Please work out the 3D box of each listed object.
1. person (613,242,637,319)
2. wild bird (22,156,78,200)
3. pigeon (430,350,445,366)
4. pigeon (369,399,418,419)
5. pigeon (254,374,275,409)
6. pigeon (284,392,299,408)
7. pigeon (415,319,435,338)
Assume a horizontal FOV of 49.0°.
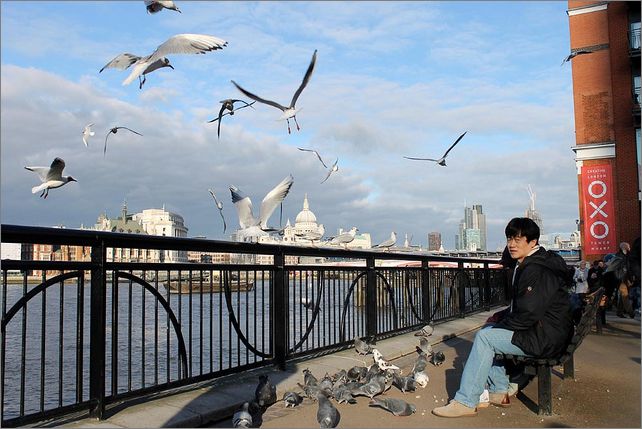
[{"bbox_3d":[8.786,1.931,20.123,0.810,2.551,0.733,-1,0,9],"label":"person"},{"bbox_3d":[-5.769,-0.810,14.897,0.915,0.562,1.336,8,-24,-27],"label":"wild bird"},{"bbox_3d":[2.361,2.832,13.920,0.284,0.188,0.238,8,-20,-19],"label":"pigeon"},{"bbox_3d":[1.176,3.177,11.677,0.810,0.275,0.307,0,-1,29],"label":"pigeon"},{"bbox_3d":[-0.927,2.983,11.845,0.241,0.640,0.286,-3,-1,9],"label":"pigeon"},{"bbox_3d":[-0.484,3.110,11.855,0.321,0.266,0.251,1,-1,4],"label":"pigeon"},{"bbox_3d":[2.353,2.557,15.631,0.277,0.207,0.740,-15,-11,-4],"label":"pigeon"}]
